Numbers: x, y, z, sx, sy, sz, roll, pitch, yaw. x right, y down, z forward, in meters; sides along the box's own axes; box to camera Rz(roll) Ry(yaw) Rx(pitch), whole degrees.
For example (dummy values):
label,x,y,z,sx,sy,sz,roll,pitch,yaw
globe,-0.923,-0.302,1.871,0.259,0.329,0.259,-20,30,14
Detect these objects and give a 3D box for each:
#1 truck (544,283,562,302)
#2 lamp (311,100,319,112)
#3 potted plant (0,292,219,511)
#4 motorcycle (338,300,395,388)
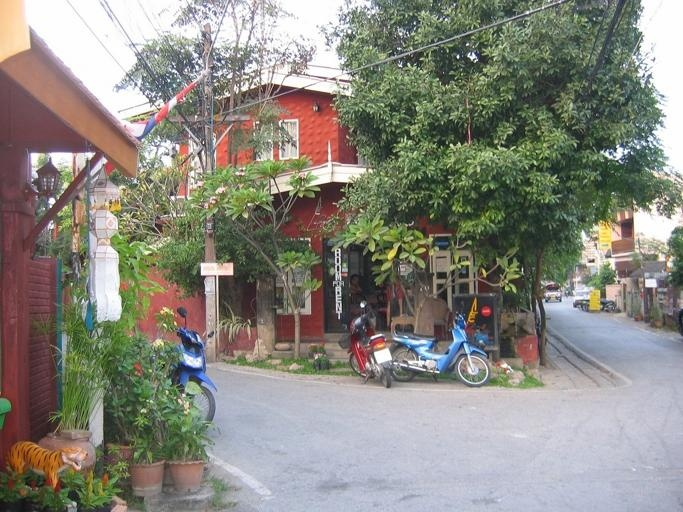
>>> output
label,x,y,z,sx,sy,sz,roll,pitch,yaw
truck,22.343,3.915,69.122,1.334,1.737,3.250,-3,-10,10
lamp,-0.874,-4.966,21.742,0.246,0.512,0.276,1,4,8
potted plant,-2.704,1.603,7.459,1.563,1.651,2.053,-4,-8,18
motorcycle,0.630,1.934,14.730,0.891,1.857,1.648,0,0,-14
